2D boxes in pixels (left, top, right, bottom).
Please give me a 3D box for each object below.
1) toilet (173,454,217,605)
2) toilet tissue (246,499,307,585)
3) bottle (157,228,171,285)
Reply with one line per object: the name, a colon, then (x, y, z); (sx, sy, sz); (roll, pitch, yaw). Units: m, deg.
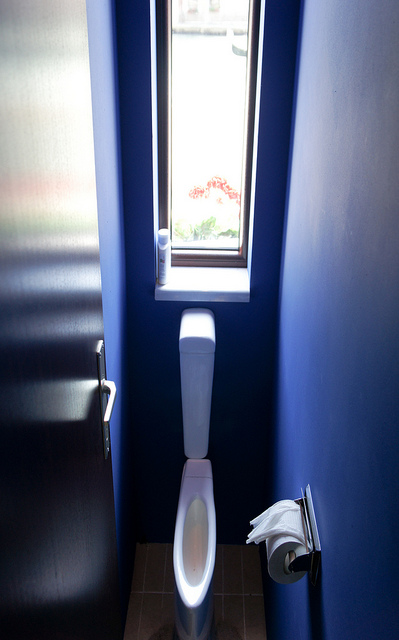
toilet: (-0.005, 0.887, 2.011); (0.139, 0.344, 0.690); (0, 52, 3)
toilet tissue: (0.195, 0.561, 1.268); (0.146, 0.221, 0.224); (-8, 0, 2)
bottle: (-0.157, -0.273, 2.005); (0.052, 0.242, 0.072); (-2, 17, -12)
